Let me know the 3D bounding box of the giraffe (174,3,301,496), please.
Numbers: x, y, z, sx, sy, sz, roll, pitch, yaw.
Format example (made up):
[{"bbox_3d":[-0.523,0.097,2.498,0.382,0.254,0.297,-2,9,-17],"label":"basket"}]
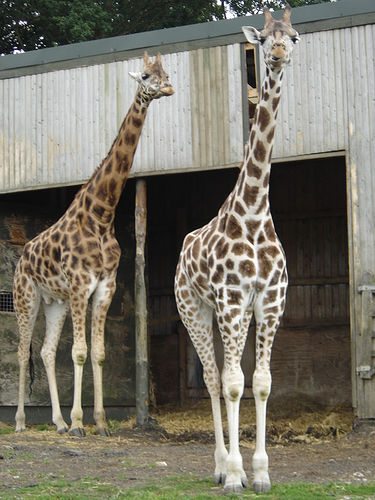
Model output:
[{"bbox_3d":[0.418,0.002,10.609,0.631,4.032,1.556,0,-4,-32],"label":"giraffe"}]

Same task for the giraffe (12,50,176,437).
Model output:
[{"bbox_3d":[-1.132,0.018,13.187,0.783,3.894,2.289,1,-4,-41],"label":"giraffe"}]
